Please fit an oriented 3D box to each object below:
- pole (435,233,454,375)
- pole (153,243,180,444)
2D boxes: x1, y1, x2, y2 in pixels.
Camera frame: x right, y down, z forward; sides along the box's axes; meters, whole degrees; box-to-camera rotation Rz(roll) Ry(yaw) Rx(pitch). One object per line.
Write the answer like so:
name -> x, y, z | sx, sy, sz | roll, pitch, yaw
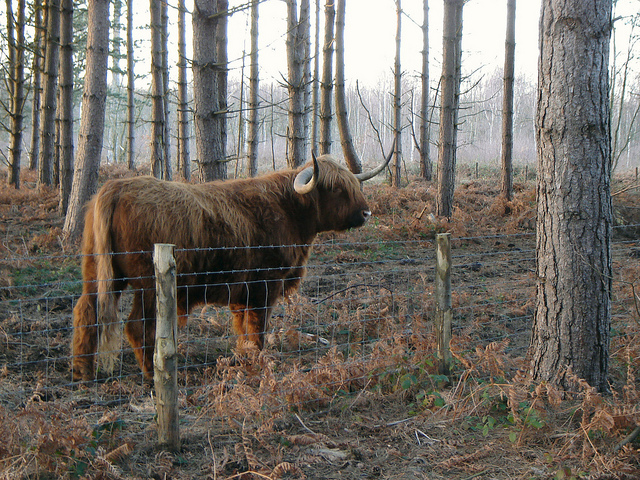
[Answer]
pole -> 2.052, 1.038, 16.105 | 0.278, 2.247, 0.515 | 0, 13, 8
pole -> -2.356, 1.592, 15.001 | 0.406, 2.983, 0.595 | -3, 13, -10
